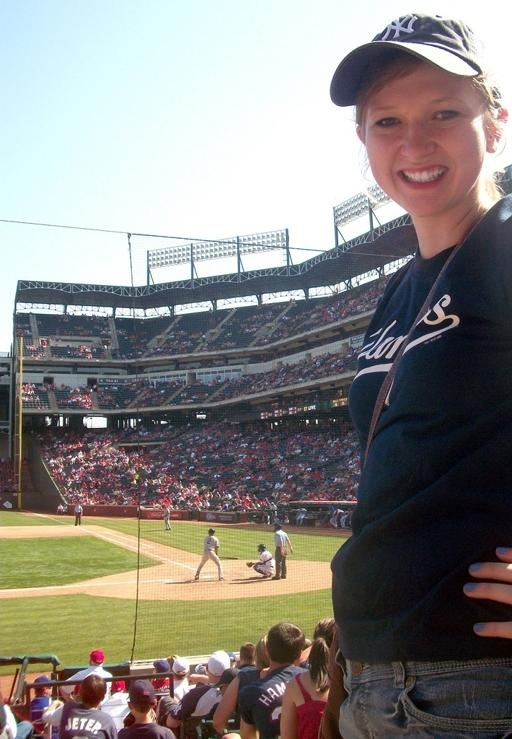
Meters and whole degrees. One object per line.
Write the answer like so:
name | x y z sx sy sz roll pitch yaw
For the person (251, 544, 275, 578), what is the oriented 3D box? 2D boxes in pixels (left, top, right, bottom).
person | 0.138 4.086 15.421 0.479 0.646 0.879 -4 -10 0

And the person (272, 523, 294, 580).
person | 0.522 3.849 15.379 0.325 1.128 0.769 -4 -11 0

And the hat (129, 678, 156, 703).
hat | -0.726 2.078 4.659 0.214 0.139 0.315 7 -33 -2

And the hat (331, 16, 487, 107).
hat | 0.319 -0.718 1.624 0.207 0.134 0.255 -4 4 2
